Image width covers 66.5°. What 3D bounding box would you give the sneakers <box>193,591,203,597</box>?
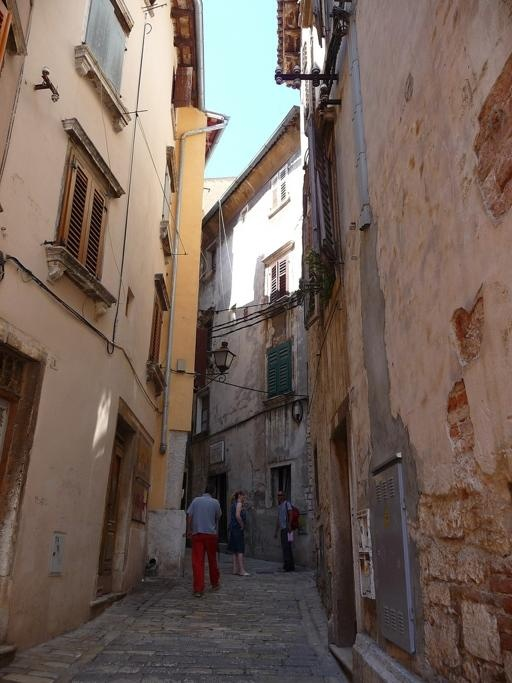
[{"bbox_3d":[-1.013,4.412,6.849,0.149,0.121,0.077,0,-10,13],"label":"sneakers"}]

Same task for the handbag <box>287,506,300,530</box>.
[{"bbox_3d":[1.051,4.915,10.898,0.293,1.042,0.570,2,-13,1],"label":"handbag"}]

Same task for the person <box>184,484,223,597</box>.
[{"bbox_3d":[-0.993,3.767,7.440,0.606,1.812,1.021,1,-18,-9],"label":"person"}]

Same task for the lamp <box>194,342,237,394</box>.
[{"bbox_3d":[-1.217,0.687,11.990,0.726,1.686,0.579,0,-42,-3],"label":"lamp"}]

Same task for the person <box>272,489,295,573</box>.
[{"bbox_3d":[0.871,5.390,11.079,0.447,2.120,1.377,-3,-19,5],"label":"person"}]
